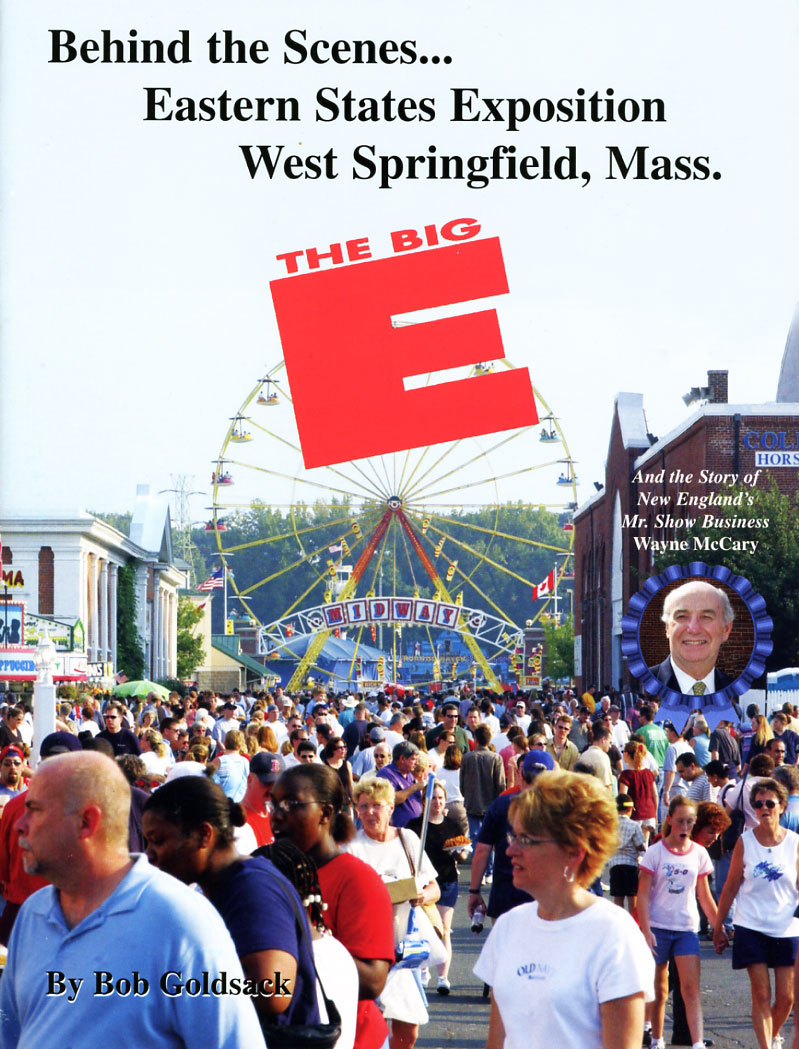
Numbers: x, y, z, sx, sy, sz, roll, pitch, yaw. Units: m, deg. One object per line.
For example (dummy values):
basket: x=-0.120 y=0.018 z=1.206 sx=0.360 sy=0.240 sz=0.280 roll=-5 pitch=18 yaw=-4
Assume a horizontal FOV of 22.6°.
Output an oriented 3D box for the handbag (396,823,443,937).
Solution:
handbag: x=0.090 y=1.559 z=8.638 sx=0.254 sy=0.447 sz=0.146 roll=-6 pitch=-17 yaw=-7

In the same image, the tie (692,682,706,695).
tie: x=3.943 y=2.233 z=26.654 sx=0.127 sy=0.185 sz=0.043 roll=3 pitch=-5 yaw=9

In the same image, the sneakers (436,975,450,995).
sneakers: x=0.243 y=2.694 z=11.523 sx=0.066 sy=0.078 sz=0.181 roll=0 pitch=-27 yaw=5
